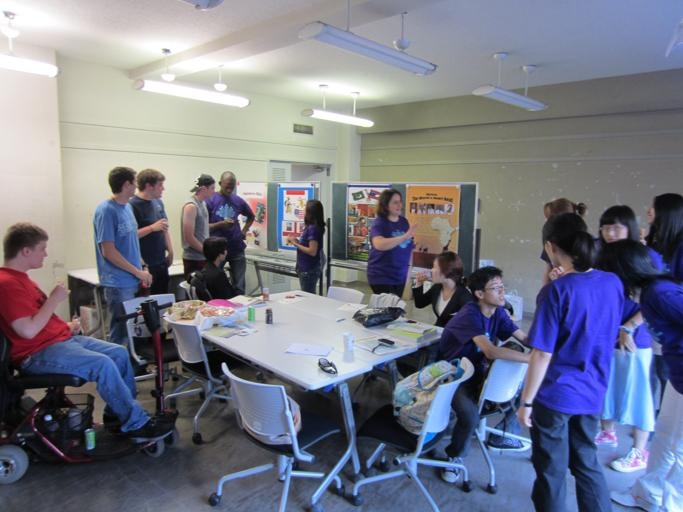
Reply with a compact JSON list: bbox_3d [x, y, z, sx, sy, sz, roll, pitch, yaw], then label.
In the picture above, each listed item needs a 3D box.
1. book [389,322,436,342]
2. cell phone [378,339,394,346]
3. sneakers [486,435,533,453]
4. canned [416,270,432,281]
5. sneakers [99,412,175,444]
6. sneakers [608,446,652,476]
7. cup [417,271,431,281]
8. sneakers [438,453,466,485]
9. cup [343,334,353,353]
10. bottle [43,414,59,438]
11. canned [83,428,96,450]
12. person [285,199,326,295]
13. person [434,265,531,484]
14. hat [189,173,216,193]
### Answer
[{"bbox_3d":[0.610,0.632,4.193,0.189,0.046,0.186,-9,15,-42],"label":"book"},{"bbox_3d":[0.363,0.693,3.925,0.130,0.031,0.081,5,9,29],"label":"cell phone"},{"bbox_3d":[1.429,1.608,4.182,0.288,0.118,0.159,-1,7,-5],"label":"sneakers"},{"bbox_3d":[0.869,0.206,5.118,0.151,0.084,0.104,-6,-11,-10],"label":"canned"},{"bbox_3d":[-1.661,1.307,3.976,0.541,0.220,0.292,7,3,24],"label":"sneakers"},{"bbox_3d":[2.426,1.663,4.036,0.459,0.181,0.157,0,-1,-21],"label":"sneakers"},{"bbox_3d":[0.860,0.209,5.071,0.208,0.109,0.109,-1,-2,-35],"label":"cup"},{"bbox_3d":[0.870,1.674,3.806,0.110,0.127,0.327,0,-9,8],"label":"sneakers"},{"bbox_3d":[0.054,0.675,3.784,0.081,0.155,0.140,1,9,0],"label":"cup"},{"bbox_3d":[-2.225,1.278,3.726,0.068,0.148,0.092,9,12,42],"label":"bottle"},{"bbox_3d":[-1.981,1.405,3.821,0.080,0.166,0.220,-4,10,-27],"label":"canned"},{"bbox_3d":[-0.419,-0.109,6.003,0.398,1.155,0.496,0,9,-6],"label":"person"},{"bbox_3d":[1.123,0.902,3.922,0.674,1.672,0.787,2,9,10],"label":"person"},{"bbox_3d":[-1.688,-0.878,5.916,0.292,0.183,0.198,-6,15,-28],"label":"hat"}]
